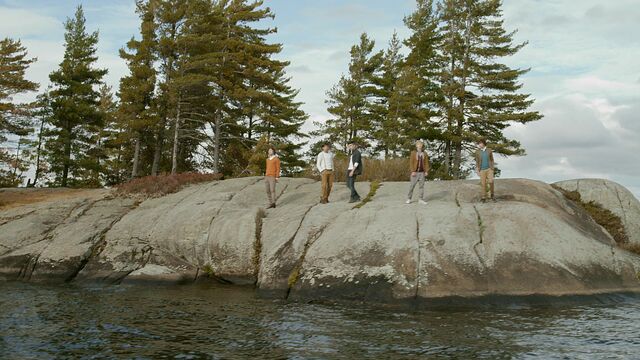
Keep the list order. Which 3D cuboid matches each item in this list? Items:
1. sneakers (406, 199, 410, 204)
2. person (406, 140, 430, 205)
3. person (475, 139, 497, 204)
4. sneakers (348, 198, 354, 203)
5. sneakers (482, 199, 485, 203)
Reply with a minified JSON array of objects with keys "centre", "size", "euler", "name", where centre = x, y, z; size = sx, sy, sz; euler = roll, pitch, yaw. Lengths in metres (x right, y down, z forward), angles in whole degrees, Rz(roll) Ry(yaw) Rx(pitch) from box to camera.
[{"centre":[4.777,1.134,26.800],"size":[0.236,0.205,0.365],"euler":[2,-2,9],"name":"sneakers"},{"centre":[5.260,-0.429,26.787],"size":[1.081,3.353,1.239],"euler":[2,-3,0],"name":"person"},{"centre":[8.999,-0.525,26.961],"size":[1.054,3.398,1.197],"euler":[1,-3,16],"name":"person"},{"centre":[1.725,1.120,27.281],"size":[0.311,0.211,0.276],"euler":[2,-2,3],"name":"sneakers"},{"centre":[8.761,1.103,26.464],"size":[0.158,0.193,0.123],"euler":[-1,4,-6],"name":"sneakers"}]
